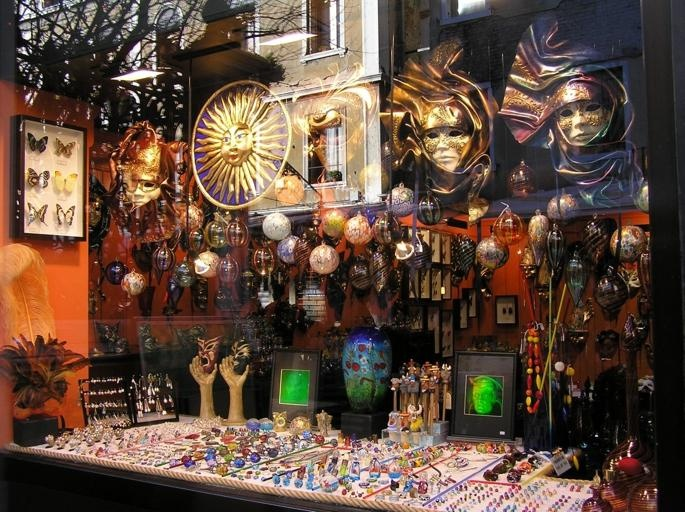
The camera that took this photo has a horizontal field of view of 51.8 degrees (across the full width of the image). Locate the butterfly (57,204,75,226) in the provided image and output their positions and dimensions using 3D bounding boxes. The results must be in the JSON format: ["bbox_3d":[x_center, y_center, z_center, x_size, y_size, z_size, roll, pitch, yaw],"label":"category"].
[{"bbox_3d":[-1.686,-0.261,4.324,0.026,0.133,0.123,0,0,33],"label":"butterfly"}]

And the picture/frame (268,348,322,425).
[{"bbox_3d":[-0.253,0.692,3.790,0.254,0.406,0.018,3,11,-6],"label":"picture/frame"}]

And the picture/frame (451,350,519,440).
[{"bbox_3d":[0.661,0.657,3.296,0.291,0.435,0.038,0,-36,16],"label":"picture/frame"}]

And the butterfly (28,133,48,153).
[{"bbox_3d":[-1.740,-0.663,4.031,0.071,0.072,0.146,32,20,29],"label":"butterfly"}]

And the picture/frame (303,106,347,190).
[{"bbox_3d":[-0.082,-0.599,3.878,0.049,0.681,0.409,0,0,-38],"label":"picture/frame"}]

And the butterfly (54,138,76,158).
[{"bbox_3d":[-1.675,-0.661,4.276,0.018,0.089,0.114,5,8,24],"label":"butterfly"}]

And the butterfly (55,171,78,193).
[{"bbox_3d":[-1.678,-0.465,4.312,0.018,0.102,0.120,5,7,33],"label":"butterfly"}]
